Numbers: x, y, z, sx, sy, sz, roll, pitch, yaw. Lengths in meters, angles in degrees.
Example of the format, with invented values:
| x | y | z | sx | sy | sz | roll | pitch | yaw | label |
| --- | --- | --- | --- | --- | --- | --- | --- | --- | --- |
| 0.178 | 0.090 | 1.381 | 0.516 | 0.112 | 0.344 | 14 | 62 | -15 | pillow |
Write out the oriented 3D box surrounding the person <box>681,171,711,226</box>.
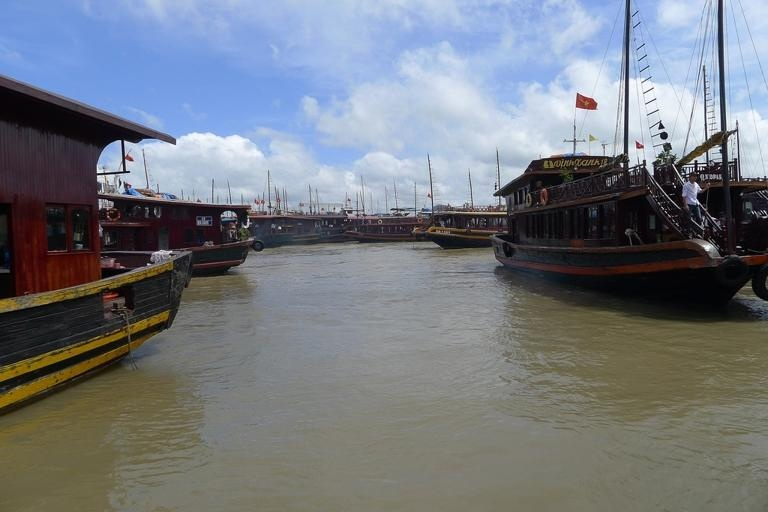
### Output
| x | y | z | sx | sy | sz | roll | pitch | yaw | label |
| --- | --- | --- | --- | --- | --- | --- | --- | --- | --- |
| 9.716 | -1.826 | 14.358 | 0.654 | 1.559 | 1.205 | 6 | 14 | 33 | person |
